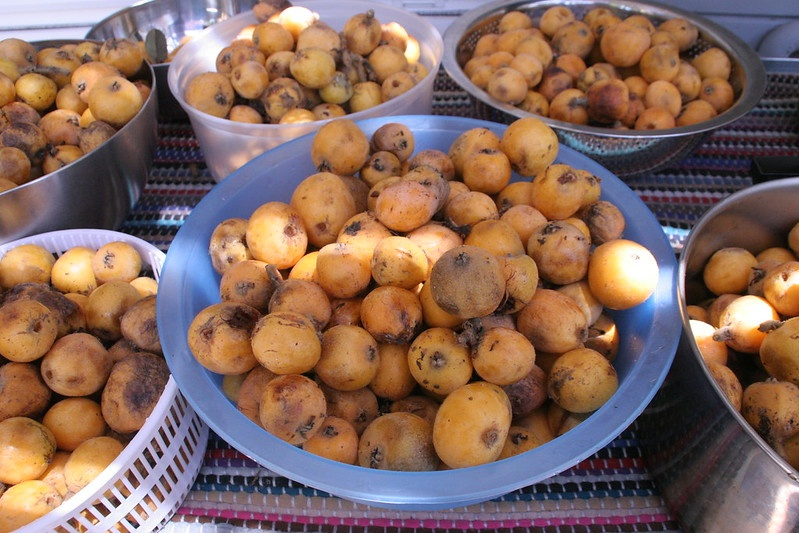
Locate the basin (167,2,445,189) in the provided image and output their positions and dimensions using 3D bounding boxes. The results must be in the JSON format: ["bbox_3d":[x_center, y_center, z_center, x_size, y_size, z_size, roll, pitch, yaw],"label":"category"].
[{"bbox_3d":[-0.503,-0.661,2.422,0.855,0.312,0.841,0,43,0],"label":"basin"}]
